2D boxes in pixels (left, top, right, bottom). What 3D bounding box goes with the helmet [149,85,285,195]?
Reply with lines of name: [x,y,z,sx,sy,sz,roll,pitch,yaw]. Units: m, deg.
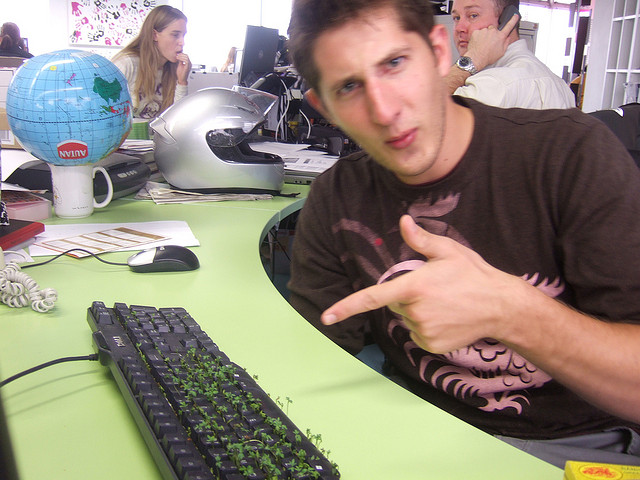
helmet: [-0.339,-0.334,1.722,0.458,0.361,0.393,12,15,29]

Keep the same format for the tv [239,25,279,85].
tv: [-0.358,-1.118,2.908,0.107,0.328,0.379,8,20,24]

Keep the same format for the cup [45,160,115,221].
cup: [-0.696,-0.144,1.400,0.176,0.150,0.100,-4,10,-25]

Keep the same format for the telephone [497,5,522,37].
telephone: [0.964,-1.128,2.456,0.074,0.137,0.034,38,24,11]

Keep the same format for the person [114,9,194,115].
person: [-1.211,-1.289,3.438,0.286,0.722,0.654,11,22,30]

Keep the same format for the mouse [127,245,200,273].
mouse: [-0.352,0.044,1.070,0.152,0.052,0.057,-5,19,-16]
